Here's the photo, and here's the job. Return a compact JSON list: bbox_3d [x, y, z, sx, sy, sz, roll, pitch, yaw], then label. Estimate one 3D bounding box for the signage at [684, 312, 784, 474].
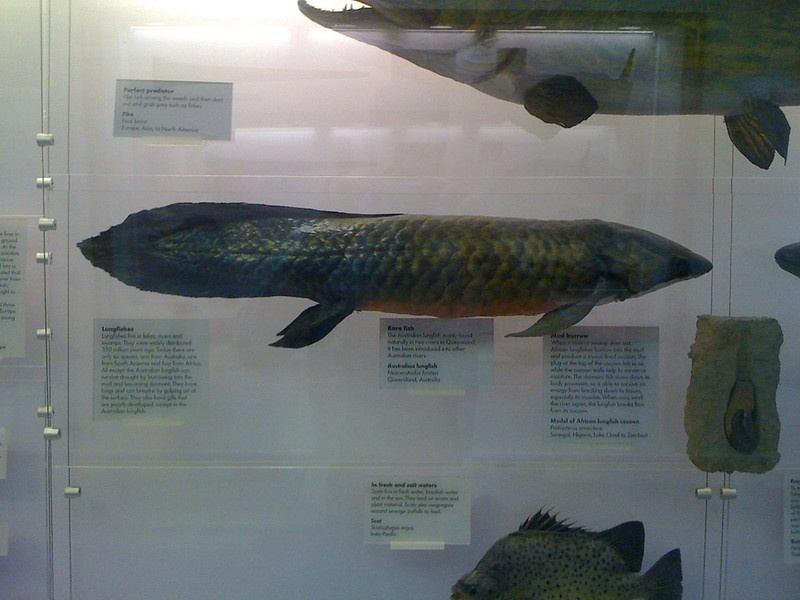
[{"bbox_3d":[0.901,0.262,3.250,0.241,0.432,0.047,3,-14,11],"label":"signage"}]
